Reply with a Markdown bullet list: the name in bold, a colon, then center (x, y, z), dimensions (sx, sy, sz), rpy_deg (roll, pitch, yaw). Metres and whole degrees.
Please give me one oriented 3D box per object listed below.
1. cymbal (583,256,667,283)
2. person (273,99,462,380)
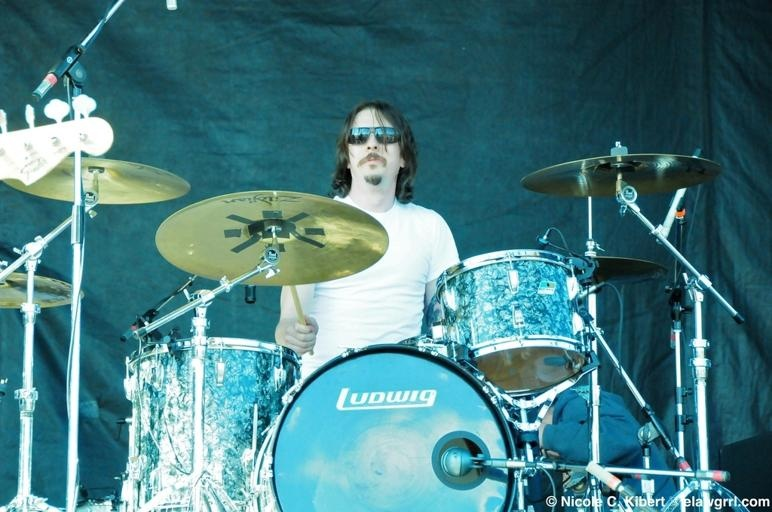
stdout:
- **cymbal**: center (1.702, 0.110, 11.615), dimensions (0.547, 0.180, 0.560), rpy_deg (-7, -1, -5)
- **person**: center (-0.127, -0.159, 11.232), dimensions (1.322, 1.824, 0.940), rpy_deg (2, 7, -5)
